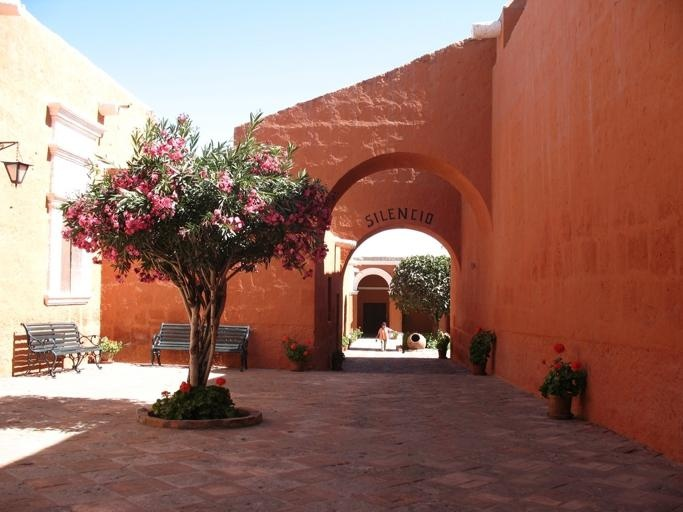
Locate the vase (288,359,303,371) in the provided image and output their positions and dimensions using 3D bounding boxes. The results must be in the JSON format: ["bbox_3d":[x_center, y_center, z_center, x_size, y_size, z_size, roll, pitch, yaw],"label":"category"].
[{"bbox_3d":[-1.062,2.569,13.069,0.243,0.179,0.250,-7,-11,40],"label":"vase"}]

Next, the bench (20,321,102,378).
[{"bbox_3d":[-6.026,1.930,11.982,0.704,0.953,1.825,3,-6,4],"label":"bench"}]

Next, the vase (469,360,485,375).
[{"bbox_3d":[3.212,2.674,13.214,0.320,0.264,0.334,3,-8,-15],"label":"vase"}]

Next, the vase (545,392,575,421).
[{"bbox_3d":[3.125,2.191,8.081,0.330,0.304,0.338,4,-12,-25],"label":"vase"}]

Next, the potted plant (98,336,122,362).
[{"bbox_3d":[-5.814,2.345,13.852,0.534,0.715,0.676,-1,-4,2],"label":"potted plant"}]

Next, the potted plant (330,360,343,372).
[{"bbox_3d":[-0.134,2.792,14.100,0.258,0.270,0.245,0,-13,-4],"label":"potted plant"}]

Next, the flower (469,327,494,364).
[{"bbox_3d":[3.322,2.144,13.207,0.600,0.428,0.793,5,-31,-22],"label":"flower"}]

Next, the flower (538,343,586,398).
[{"bbox_3d":[3.187,1.633,8.133,0.502,0.668,0.453,-9,-1,-2],"label":"flower"}]

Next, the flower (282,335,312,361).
[{"bbox_3d":[-1.053,2.210,13.181,0.501,0.432,0.587,-2,3,-21],"label":"flower"}]
